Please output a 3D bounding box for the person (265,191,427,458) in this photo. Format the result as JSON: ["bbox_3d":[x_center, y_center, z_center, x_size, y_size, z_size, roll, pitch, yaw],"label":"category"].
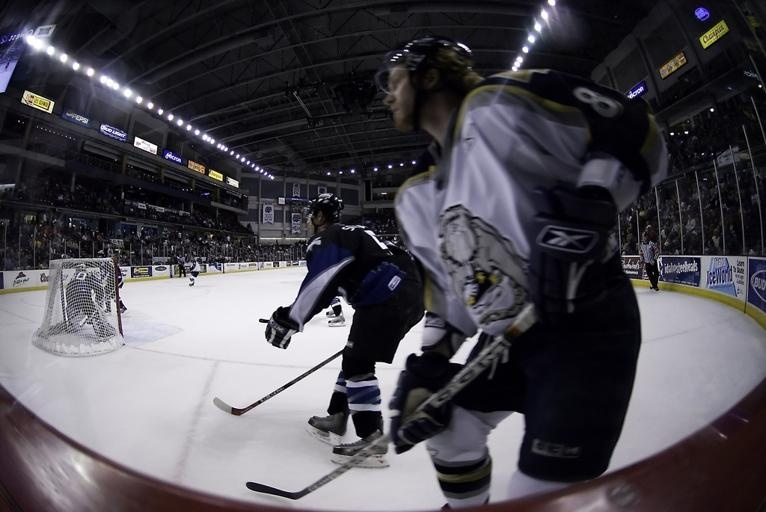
[{"bbox_3d":[-0.212,0.392,2.990,0.999,1.568,0.846,1,-11,-8],"label":"person"}]

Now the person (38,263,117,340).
[{"bbox_3d":[-2.686,0.464,4.653,0.723,0.830,0.634,-2,-9,-4],"label":"person"}]

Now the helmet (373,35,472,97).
[{"bbox_3d":[0.166,-0.736,1.897,0.381,0.290,0.285,-7,6,2],"label":"helmet"}]

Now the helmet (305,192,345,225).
[{"bbox_3d":[-0.369,-0.320,3.210,0.212,0.202,0.172,23,16,22],"label":"helmet"}]

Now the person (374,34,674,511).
[{"bbox_3d":[0.418,0.071,1.661,0.916,1.728,0.476,5,7,31],"label":"person"}]

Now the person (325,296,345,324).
[{"bbox_3d":[-0.532,0.701,5.677,0.253,0.359,0.835,-2,-13,-5],"label":"person"}]

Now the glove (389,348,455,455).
[{"bbox_3d":[0.137,0.528,1.795,0.224,0.368,0.159,42,-13,4],"label":"glove"}]
